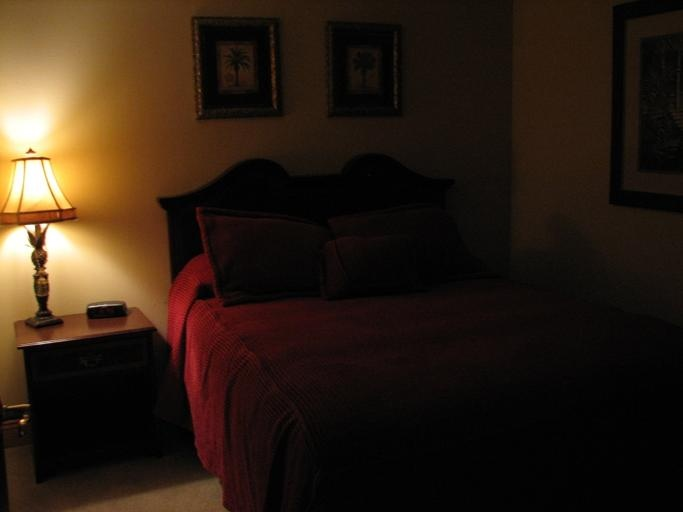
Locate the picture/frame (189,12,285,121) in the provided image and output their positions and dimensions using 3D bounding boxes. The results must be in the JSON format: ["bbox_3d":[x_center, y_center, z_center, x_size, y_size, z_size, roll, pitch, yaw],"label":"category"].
[{"bbox_3d":[-0.674,-1.194,3.471,0.629,0.678,0.052,-3,9,-17],"label":"picture/frame"}]

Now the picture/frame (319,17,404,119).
[{"bbox_3d":[0.111,-1.266,3.707,0.646,0.716,0.091,-1,4,-24],"label":"picture/frame"}]
